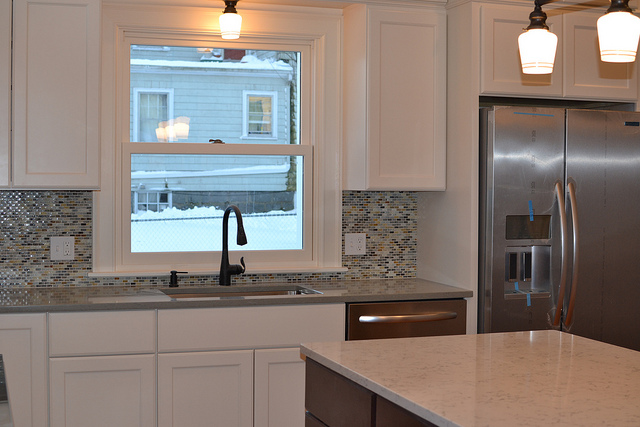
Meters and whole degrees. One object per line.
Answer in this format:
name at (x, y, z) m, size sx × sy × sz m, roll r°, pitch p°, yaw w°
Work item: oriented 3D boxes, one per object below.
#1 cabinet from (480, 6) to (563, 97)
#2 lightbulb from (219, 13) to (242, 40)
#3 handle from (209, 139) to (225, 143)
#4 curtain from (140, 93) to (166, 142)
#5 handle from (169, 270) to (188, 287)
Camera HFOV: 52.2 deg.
cabinet at (1.297, -1.026, 4.459) m, size 0.440 × 0.696 × 0.500 m, roll 0°, pitch 4°, yaw -8°
lightbulb at (-0.553, -1.166, 4.094) m, size 0.155 × 0.105 × 0.138 m, roll -1°, pitch 0°, yaw 12°
handle at (-0.708, -0.492, 4.458) m, size 0.096 × 0.033 × 0.027 m, roll 1°, pitch -7°, yaw -9°
curtain at (-1.118, -0.639, 4.382) m, size 0.200 × 0.350 × 0.031 m, roll 1°, pitch 0°, yaw 5°
handle at (-0.922, 0.420, 4.257) m, size 0.121 × 0.095 × 0.093 m, roll -4°, pitch 11°, yaw -12°
